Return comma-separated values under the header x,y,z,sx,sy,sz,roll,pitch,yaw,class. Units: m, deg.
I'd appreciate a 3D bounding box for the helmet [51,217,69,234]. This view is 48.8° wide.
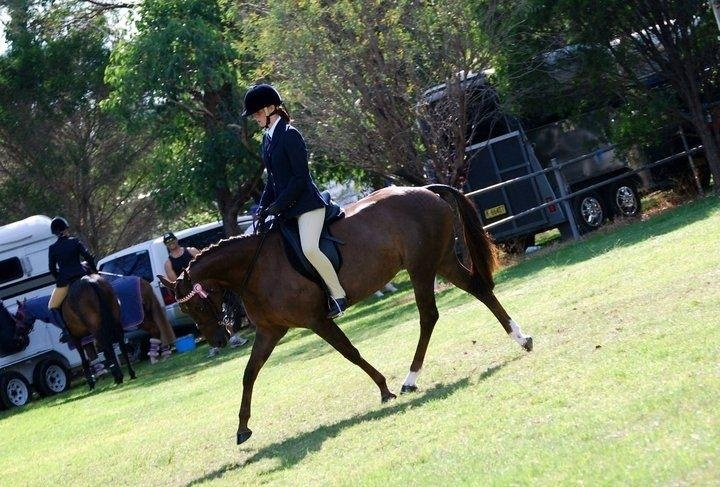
x,y,z,sx,sy,sz,roll,pitch,yaw,class
-6.485,-0.363,17.203,0.322,0.363,0.354,-31,21,-28,helmet

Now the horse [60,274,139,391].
x,y,z,sx,sy,sz,roll,pitch,yaw,class
-6.225,1.907,18.461,0.850,2.744,3.528,-19,1,-35,horse

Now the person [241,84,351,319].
x,y,z,sx,sy,sz,roll,pitch,yaw,class
-0.894,-0.561,10.948,0.827,3.346,0.527,-19,1,2,person

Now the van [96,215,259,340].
x,y,z,sx,sy,sz,roll,pitch,yaw,class
-5.092,0.187,23.639,3.259,2.545,5.205,-15,10,34,van

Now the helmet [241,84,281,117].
x,y,z,sx,sy,sz,roll,pitch,yaw,class
-1.348,-1.915,10.888,0.492,0.318,0.345,-13,1,-37,helmet

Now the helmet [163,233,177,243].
x,y,z,sx,sy,sz,roll,pitch,yaw,class
-4.407,-0.107,18.387,0.198,0.167,0.279,-14,-2,-7,helmet

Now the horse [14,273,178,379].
x,y,z,sx,sy,sz,roll,pitch,yaw,class
-6.276,2.069,18.704,3.690,2.498,1.050,-20,-5,-46,horse

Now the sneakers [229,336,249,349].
x,y,z,sx,sy,sz,roll,pitch,yaw,class
-2.931,2.374,19.185,0.539,0.282,0.208,-6,-2,26,sneakers
